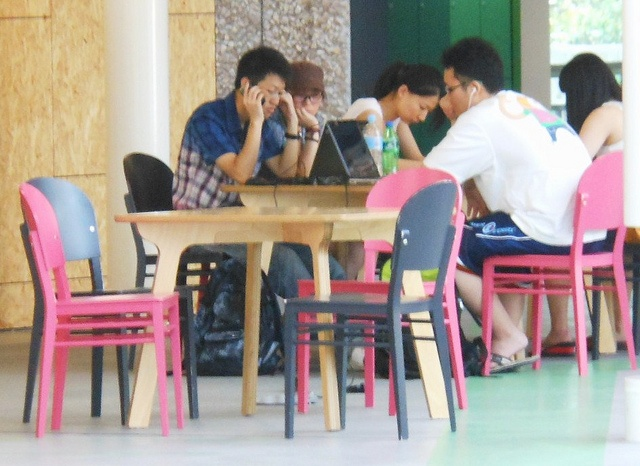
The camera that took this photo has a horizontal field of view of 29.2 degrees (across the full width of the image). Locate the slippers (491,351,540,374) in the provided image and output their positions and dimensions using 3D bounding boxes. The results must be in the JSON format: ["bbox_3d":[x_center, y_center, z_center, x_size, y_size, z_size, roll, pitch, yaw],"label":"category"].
[{"bbox_3d":[1.052,0.694,6.647,0.271,0.120,0.113,3,-5,-16],"label":"slippers"}]

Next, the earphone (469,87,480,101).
[{"bbox_3d":[0.861,-0.770,6.829,0.021,0.068,0.046,7,8,19],"label":"earphone"}]

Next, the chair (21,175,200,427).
[{"bbox_3d":[-0.945,0.319,5.747,0.630,1.143,0.645,-4,3,26],"label":"chair"}]

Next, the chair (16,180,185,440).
[{"bbox_3d":[-1.060,0.357,5.892,0.681,1.176,0.703,-2,3,0],"label":"chair"}]

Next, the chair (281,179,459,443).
[{"bbox_3d":[0.284,0.341,5.735,0.642,1.202,0.615,2,0,35],"label":"chair"}]

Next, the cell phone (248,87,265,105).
[{"bbox_3d":[-0.354,-0.771,6.857,0.106,0.041,0.078,48,6,-25],"label":"cell phone"}]

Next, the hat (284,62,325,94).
[{"bbox_3d":[-0.087,-0.927,7.378,0.198,0.222,0.160,2,5,44],"label":"hat"}]
